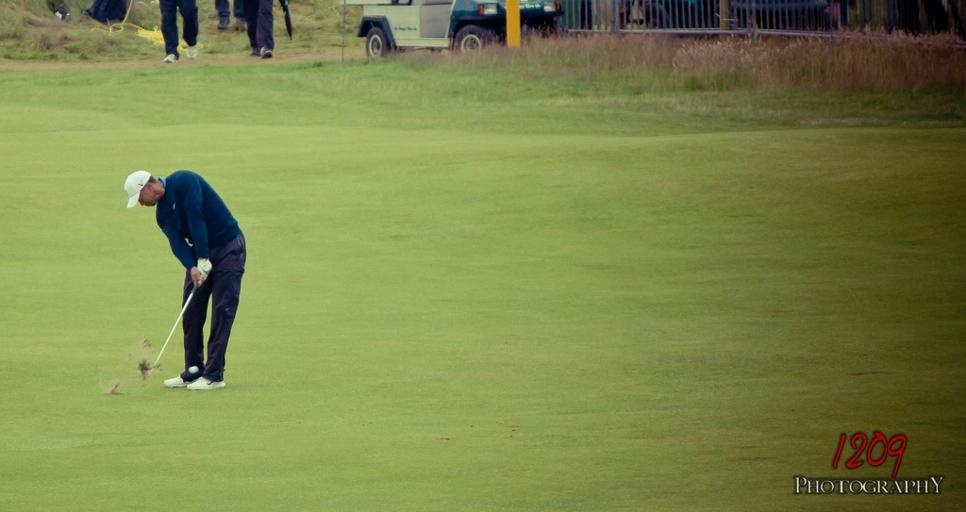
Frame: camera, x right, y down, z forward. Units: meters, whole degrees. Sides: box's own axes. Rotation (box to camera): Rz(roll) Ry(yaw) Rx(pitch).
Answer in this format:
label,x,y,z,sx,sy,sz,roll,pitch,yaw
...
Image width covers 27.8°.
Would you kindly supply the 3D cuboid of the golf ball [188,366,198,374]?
label,x,y,z,sx,sy,sz,roll,pitch,yaw
golf ball,-4.623,1.878,31.530,0.145,0.130,0.064,-25,46,11
